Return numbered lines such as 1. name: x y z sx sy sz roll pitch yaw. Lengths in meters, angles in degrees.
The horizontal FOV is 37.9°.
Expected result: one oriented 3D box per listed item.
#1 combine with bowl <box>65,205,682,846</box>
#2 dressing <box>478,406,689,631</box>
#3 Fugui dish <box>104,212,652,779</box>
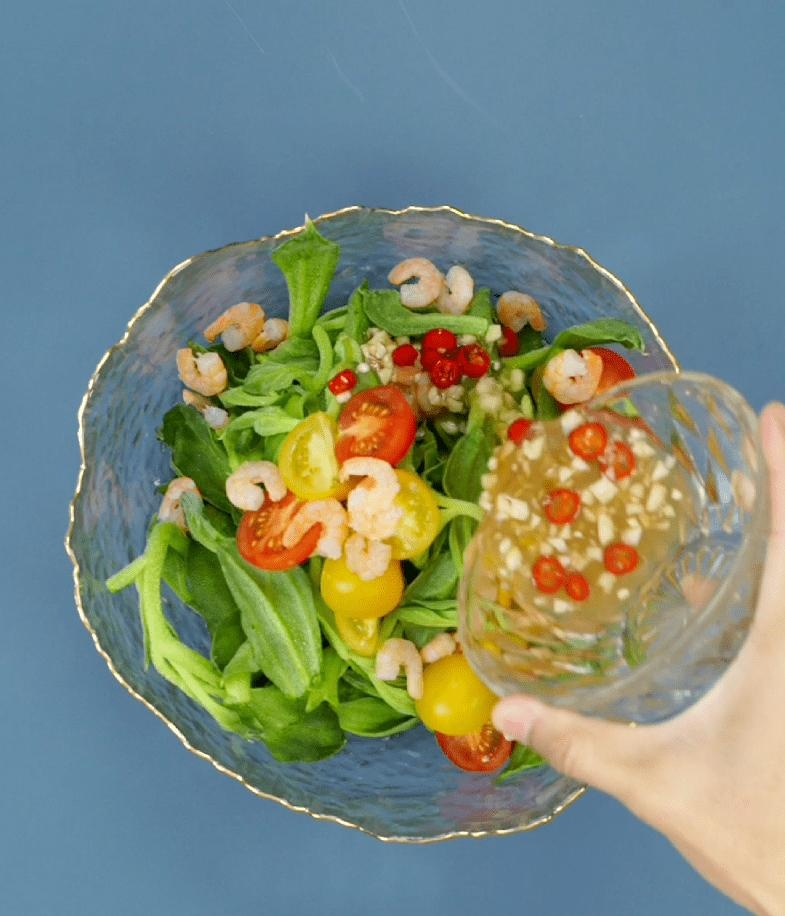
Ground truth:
1. combine with bowl: 0.101 0.244 2.297 1.094 1.219 1.099 -16 47 -8
2. dressing: 0.284 0.113 1.826 0.257 0.354 0.301 -5 46 -5
3. Fugui dish: -0.106 0.159 2.311 0.842 1.144 0.820 28 54 27
